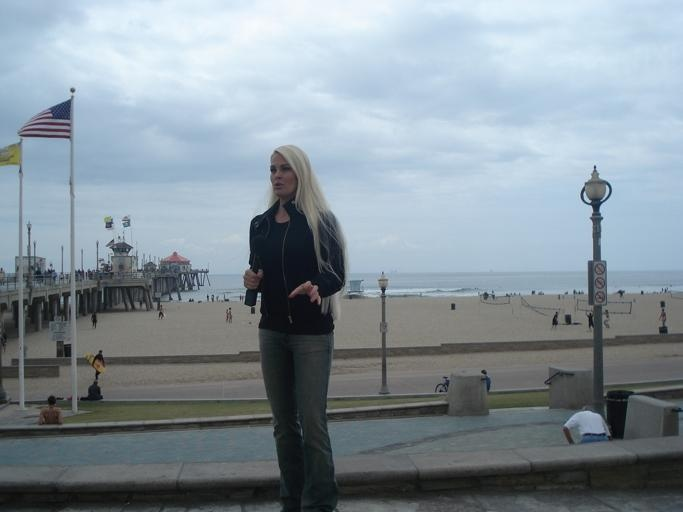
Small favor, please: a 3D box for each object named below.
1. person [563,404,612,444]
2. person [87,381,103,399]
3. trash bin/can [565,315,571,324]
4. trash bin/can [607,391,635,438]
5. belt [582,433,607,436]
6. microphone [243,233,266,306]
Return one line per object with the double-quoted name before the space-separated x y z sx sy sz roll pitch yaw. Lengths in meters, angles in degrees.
"person" 3.842 2.625 12.255 0.677 0.622 1.050 -17 0 17
"person" -6.965 3.807 22.269 0.379 0.431 0.752 -1 -1 -20
"trash bin/can" 13.567 3.750 47.240 0.448 0.748 0.449 0 -2 19
"trash bin/can" 4.655 2.656 13.238 0.374 0.609 0.532 -1 -1 19
"belt" 3.688 2.603 11.479 0.329 0.040 0.048 -1 -1 -4
"microphone" -0.933 0.140 8.573 0.203 0.769 0.190 10 -12 -5
